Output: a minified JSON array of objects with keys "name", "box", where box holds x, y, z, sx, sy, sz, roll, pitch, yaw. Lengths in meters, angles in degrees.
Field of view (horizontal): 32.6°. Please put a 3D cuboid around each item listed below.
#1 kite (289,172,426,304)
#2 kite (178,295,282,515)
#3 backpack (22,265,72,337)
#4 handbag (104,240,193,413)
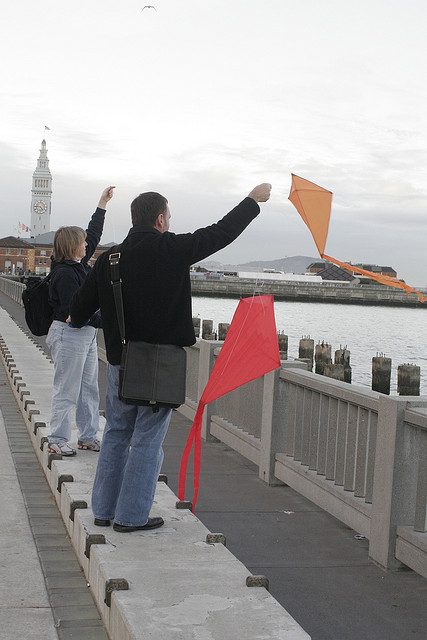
[{"name":"kite","box":[0.871,-0.643,5.093,0.696,0.871,0.845,4,0,3]},{"name":"kite","box":[0.294,0.560,5.739,0.614,1.817,1.406,1,1,-12]},{"name":"backpack","box":[-1.362,-0.119,5.760,0.185,0.460,0.431,3,1,-44]},{"name":"handbag","box":[-0.362,0.054,3.793,0.472,0.795,0.276,4,1,2]}]
